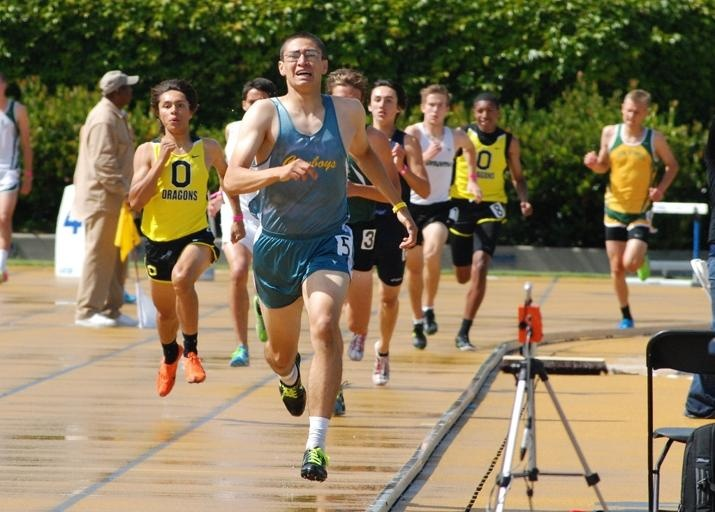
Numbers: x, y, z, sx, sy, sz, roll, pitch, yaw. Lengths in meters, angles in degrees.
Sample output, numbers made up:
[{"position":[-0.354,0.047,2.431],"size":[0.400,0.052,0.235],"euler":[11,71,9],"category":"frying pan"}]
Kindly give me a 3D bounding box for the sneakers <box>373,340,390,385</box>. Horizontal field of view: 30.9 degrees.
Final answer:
[{"position":[0.196,0.915,10.914],"size":[0.116,0.377,0.144],"euler":[0,-15,0],"category":"sneakers"}]

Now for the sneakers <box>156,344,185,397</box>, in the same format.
[{"position":[-1.532,0.944,10.558],"size":[0.133,0.434,0.161],"euler":[5,-15,8],"category":"sneakers"}]

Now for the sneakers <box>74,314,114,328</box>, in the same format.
[{"position":[-2.690,0.686,13.142],"size":[0.352,0.154,0.148],"euler":[-1,-5,-3],"category":"sneakers"}]

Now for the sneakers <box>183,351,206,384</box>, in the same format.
[{"position":[-1.365,0.948,10.680],"size":[0.119,0.171,0.365],"euler":[-9,6,-15],"category":"sneakers"}]

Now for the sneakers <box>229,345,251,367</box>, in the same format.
[{"position":[-1.059,0.915,11.550],"size":[0.148,0.201,0.436],"euler":[0,-6,-2],"category":"sneakers"}]

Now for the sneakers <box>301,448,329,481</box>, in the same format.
[{"position":[-0.297,1.420,8.644],"size":[0.176,0.253,0.209],"euler":[-1,2,-3],"category":"sneakers"}]

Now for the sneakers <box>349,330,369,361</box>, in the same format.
[{"position":[0.000,0.771,11.068],"size":[0.107,0.317,0.142],"euler":[13,45,13],"category":"sneakers"}]

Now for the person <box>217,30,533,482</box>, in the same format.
[{"position":[-0.387,-0.105,9.161],"size":[0.752,2.938,1.080],"euler":[0,2,25],"category":"person"}]

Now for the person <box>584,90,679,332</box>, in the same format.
[{"position":[2.803,-0.463,13.239],"size":[0.855,2.454,0.694],"euler":[0,2,35],"category":"person"}]

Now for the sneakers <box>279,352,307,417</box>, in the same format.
[{"position":[-0.529,1.005,9.862],"size":[0.154,0.490,0.207],"euler":[-10,15,7],"category":"sneakers"}]
